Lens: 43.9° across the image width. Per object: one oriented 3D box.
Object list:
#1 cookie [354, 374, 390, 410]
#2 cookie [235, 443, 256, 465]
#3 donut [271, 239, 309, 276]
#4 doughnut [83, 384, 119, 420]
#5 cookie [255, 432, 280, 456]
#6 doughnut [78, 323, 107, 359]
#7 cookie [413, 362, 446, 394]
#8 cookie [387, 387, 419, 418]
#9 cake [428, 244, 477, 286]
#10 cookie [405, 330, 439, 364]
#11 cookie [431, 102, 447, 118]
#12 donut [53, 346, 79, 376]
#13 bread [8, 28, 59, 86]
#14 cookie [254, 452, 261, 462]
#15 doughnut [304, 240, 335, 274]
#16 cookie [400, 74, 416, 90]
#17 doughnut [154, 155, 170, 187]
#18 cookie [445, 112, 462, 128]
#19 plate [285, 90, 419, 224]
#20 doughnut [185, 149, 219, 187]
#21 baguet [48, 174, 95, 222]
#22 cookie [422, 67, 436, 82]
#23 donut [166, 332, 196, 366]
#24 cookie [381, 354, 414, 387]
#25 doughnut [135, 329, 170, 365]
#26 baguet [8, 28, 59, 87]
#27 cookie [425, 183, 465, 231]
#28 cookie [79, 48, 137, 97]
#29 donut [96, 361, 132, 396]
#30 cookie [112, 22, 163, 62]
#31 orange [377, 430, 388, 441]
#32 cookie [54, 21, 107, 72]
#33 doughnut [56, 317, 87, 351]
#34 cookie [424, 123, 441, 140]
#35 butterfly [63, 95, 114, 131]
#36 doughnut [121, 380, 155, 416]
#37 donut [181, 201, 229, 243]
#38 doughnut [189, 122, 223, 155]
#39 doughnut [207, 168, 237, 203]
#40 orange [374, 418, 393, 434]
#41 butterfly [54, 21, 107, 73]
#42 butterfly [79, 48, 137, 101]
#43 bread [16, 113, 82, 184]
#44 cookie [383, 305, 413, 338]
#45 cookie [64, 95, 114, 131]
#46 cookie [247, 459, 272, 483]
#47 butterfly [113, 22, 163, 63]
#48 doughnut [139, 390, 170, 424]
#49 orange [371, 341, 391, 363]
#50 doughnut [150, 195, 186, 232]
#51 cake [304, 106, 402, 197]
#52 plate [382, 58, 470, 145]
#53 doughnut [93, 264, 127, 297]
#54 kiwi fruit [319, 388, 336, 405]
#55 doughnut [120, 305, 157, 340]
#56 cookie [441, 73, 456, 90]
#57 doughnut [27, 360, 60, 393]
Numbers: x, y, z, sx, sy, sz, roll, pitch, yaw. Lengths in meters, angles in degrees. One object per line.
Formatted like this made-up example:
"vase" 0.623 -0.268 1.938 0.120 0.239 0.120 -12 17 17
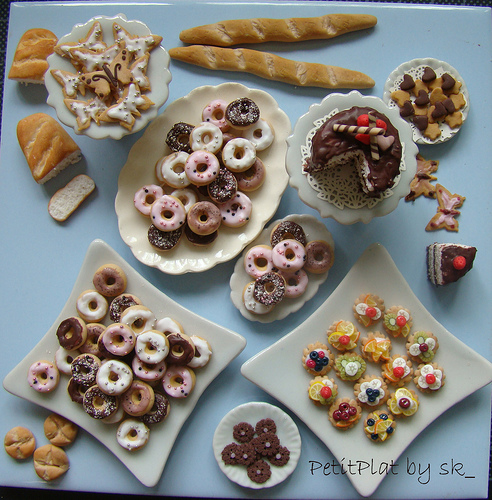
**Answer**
"cookie" 0.690 0.774 3.373 0.190 0.123 0.172 3 58 8
"cookie" -0.006 1.106 3.327 0.110 0.047 0.101 5 60 10
"donut" 0.241 0.046 3.378 0.207 0.159 0.154 -7 57 2
"doughnut" -0.797 0.835 3.283 0.180 0.068 0.205 19 40 -18
"cookie" 0.115 1.054 3.338 0.130 0.069 0.102 -3 58 5
"doughnut" -0.851 0.490 3.319 0.152 0.055 0.182 -4 86 -2
"cookie" 1.011 0.694 3.366 0.169 0.111 0.154 9 59 12
"cookie" 0.863 0.826 3.345 0.179 0.122 0.142 -18 57 -5
"cake" 1.153 0.060 3.352 0.167 0.090 0.337 -2 55 35
"cookie" 0.976 0.540 3.381 0.186 0.070 0.211 18 52 31
"cookie" 1.085 -0.791 3.454 0.079 0.047 0.069 -7 58 2
"donut" -1.004 0.607 3.375 0.140 0.053 0.163 -11 85 -17
"bread" -1.223 -1.112 3.501 0.276 0.092 0.366 5 89 5
"cookie" 0.065 1.130 3.345 0.036 0.009 0.040 1 89 -39
"doughnut" 0.403 0.046 3.432 0.175 0.064 0.205 -7 60 -1
"cookie" 0.915 -0.949 3.483 0.086 0.052 0.080 -32 60 -13
"doughnut" -0.473 -0.441 3.455 0.122 0.041 0.141 -8 92 -28
"cookie" 1.183 -0.740 3.482 0.092 0.059 0.061 -16 57 -3
"plate" 0.546 -0.479 3.063 0.561 0.241 0.655 21 54 16
"doughnut" -0.240 -0.447 3.326 0.165 0.068 0.202 0 88 -1
"baguet" -1.023 -0.299 3.593 0.171 0.058 0.343 38 95 5
"cookie" 1.039 -0.993 3.475 0.072 0.040 0.081 17 62 17
"donut" -0.353 0.539 3.291 0.153 0.139 0.167 2 58 8
"cookie" 0.828 0.637 3.323 0.151 0.056 0.182 0 91 2
"doughnut" -0.511 0.529 3.257 0.177 0.072 0.210 11 49 -5
"baguet" -1.222 -1.108 3.554 0.271 0.108 0.362 5 89 5
"cookie" 1.145 -0.214 3.511 0.179 0.139 0.241 17 62 16
"cookie" -0.713 -0.912 3.152 0.185 0.022 0.148 -33 96 -3
"donut" -0.705 0.689 3.264 0.184 0.127 0.155 -11 57 0
"cookie" -0.577 -1.074 3.179 0.249 0.039 0.217 9 88 4
"orange" 0.739 1.005 3.313 0.058 0.049 0.034 -13 56 -2
"cookie" -0.845 -1.080 3.125 0.222 0.049 0.278 -2 85 -7
"doughnut" -0.969 0.452 3.362 0.171 0.063 0.193 -4 67 1
"cookie" 1.057 -0.674 3.482 0.094 0.057 0.078 -14 57 -2
"butterfly" -0.818 -0.719 3.204 0.185 0.028 0.191 17 92 -2
"doughnut" -0.581 0.795 3.229 0.161 0.066 0.194 8 83 3
"donut" -0.241 -0.143 3.394 0.232 0.180 0.170 17 61 16
"doughnut" -0.223 -0.612 3.360 0.174 0.095 0.140 3 58 8
"doughnut" -0.127 -0.349 3.355 0.147 0.055 0.180 -1 87 4
"orange" 0.743 0.951 3.311 0.108 0.036 0.055 -15 58 -3
"butterfly" -0.847 -1.084 3.170 0.228 0.043 0.272 -7 82 -4
"butterfly" -0.712 -0.904 3.152 0.199 0.029 0.158 -33 98 -5
"bread" -1.179 -0.642 3.527 0.308 0.136 0.420 -32 74 -21
"cookie" 0.838 0.394 3.389 0.158 0.059 0.194 7 71 16
"cookie" -0.823 -0.720 3.153 0.177 0.026 0.188 20 92 -1
"cookie" 0.067 1.200 3.317 0.120 0.067 0.113 -30 60 -11
"butterfly" -0.576 -1.072 3.178 0.239 0.038 0.210 9 88 5
"doughnut" -0.473 0.866 3.355 0.138 0.056 0.167 0 88 11
"orange" 0.736 0.543 3.360 0.121 0.066 0.059 -36 60 -15
"doughnut" -0.426 -0.205 3.388 0.171 0.072 0.209 0 90 -2
"cake" 0.549 -0.513 3.043 0.461 0.335 0.381 15 61 15
"plate" 1.008 -0.816 3.425 0.470 0.084 0.571 0 94 2
"doughnut" -0.755 0.192 3.440 0.188 0.197 0.075 -26 82 -15
"kiwi fruit" 0.448 0.809 3.339 0.108 0.070 0.053 -30 58 -12
"doughnut" -0.623 0.395 3.332 0.136 0.160 0.060 -16 59 -24
"cookie" 1.136 -0.948 3.469 0.083 0.049 0.089 36 69 25
"doughnut" -1.126 0.695 3.384 0.169 0.098 0.162 13 61 14
